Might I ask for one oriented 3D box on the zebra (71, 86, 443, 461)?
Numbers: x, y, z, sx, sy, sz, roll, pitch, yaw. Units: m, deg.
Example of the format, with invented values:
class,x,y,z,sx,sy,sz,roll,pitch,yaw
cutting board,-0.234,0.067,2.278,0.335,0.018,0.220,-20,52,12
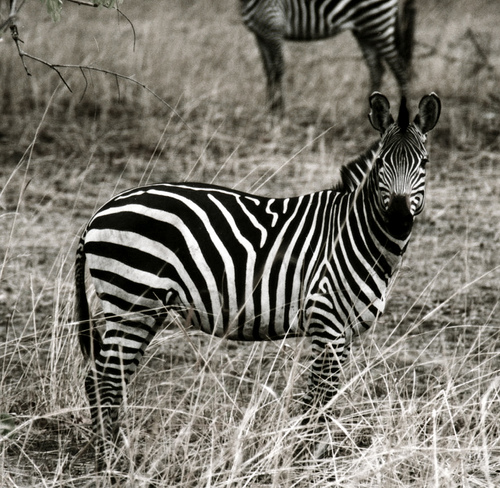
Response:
class,x,y,z,sx,sy,sz,roll,pitch,yaw
zebra,0.024,0.235,5.294,1.764,2.407,0.812,6,22,15
